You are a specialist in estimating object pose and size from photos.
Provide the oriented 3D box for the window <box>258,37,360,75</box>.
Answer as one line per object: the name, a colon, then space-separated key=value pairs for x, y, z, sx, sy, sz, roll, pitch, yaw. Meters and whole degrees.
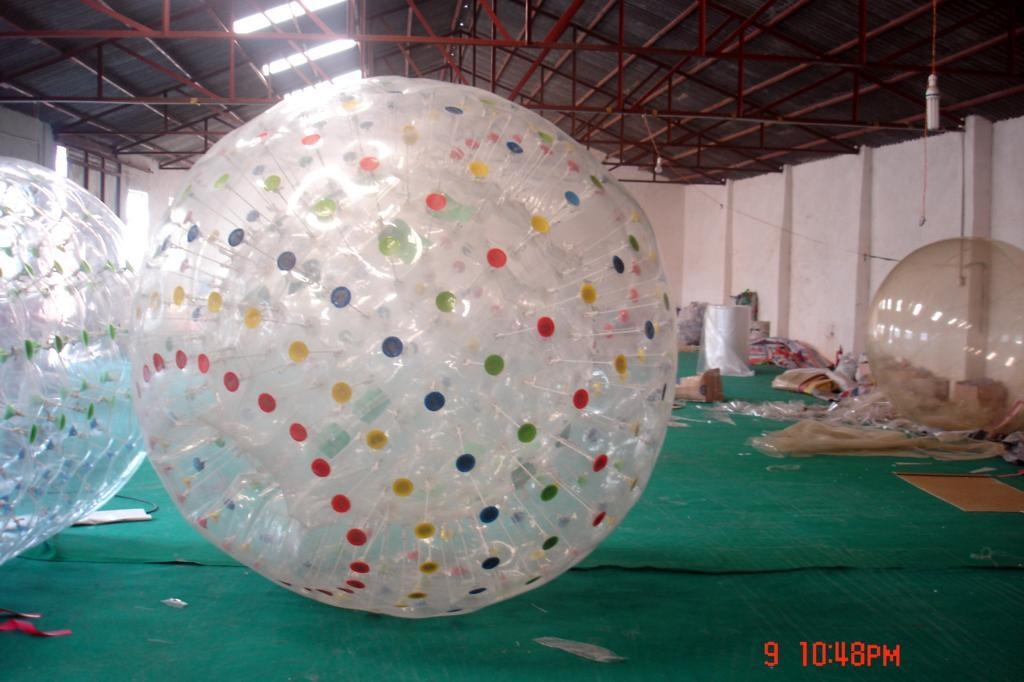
window: x=-4.057 y=-5.472 z=13.296 sx=1.710 sy=0.642 sz=1.861 roll=-3 pitch=15 yaw=-15

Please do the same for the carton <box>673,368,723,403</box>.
carton: x=2.460 y=0.589 z=8.859 sx=0.708 sy=0.517 sz=0.469 roll=-2 pitch=-1 yaw=23

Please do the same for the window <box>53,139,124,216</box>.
window: x=-9.972 y=-3.866 z=16.165 sx=1.444 sy=1.207 sz=0.126 roll=15 pitch=15 yaw=6

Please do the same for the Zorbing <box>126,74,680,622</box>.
Zorbing: x=-0.084 y=-0.063 z=4.016 sx=2.412 sy=2.180 sz=2.523 roll=-15 pitch=10 yaw=-34
